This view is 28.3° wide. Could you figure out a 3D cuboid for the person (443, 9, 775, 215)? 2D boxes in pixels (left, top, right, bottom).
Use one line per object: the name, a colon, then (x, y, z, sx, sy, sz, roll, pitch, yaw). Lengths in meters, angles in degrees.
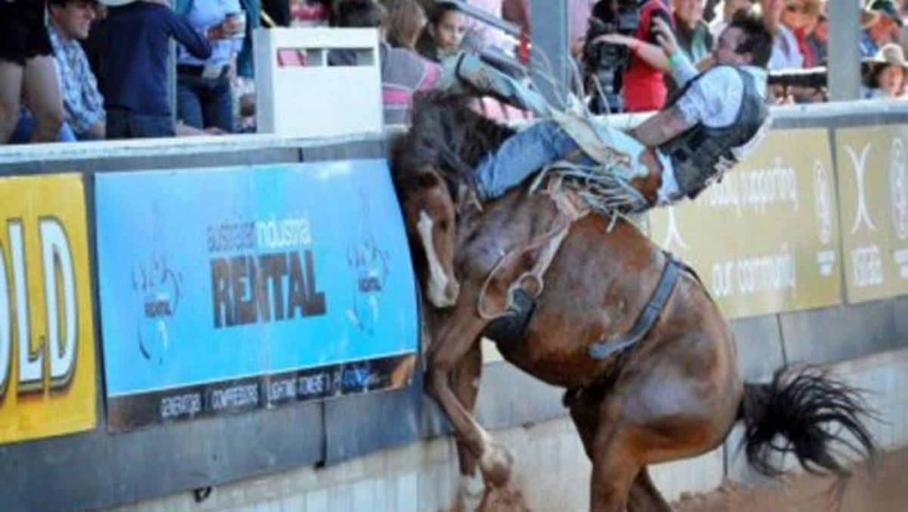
person: (0.937, -0.908, 11.018, 1.970, 1.368, 0.814, 9, -2, 9)
